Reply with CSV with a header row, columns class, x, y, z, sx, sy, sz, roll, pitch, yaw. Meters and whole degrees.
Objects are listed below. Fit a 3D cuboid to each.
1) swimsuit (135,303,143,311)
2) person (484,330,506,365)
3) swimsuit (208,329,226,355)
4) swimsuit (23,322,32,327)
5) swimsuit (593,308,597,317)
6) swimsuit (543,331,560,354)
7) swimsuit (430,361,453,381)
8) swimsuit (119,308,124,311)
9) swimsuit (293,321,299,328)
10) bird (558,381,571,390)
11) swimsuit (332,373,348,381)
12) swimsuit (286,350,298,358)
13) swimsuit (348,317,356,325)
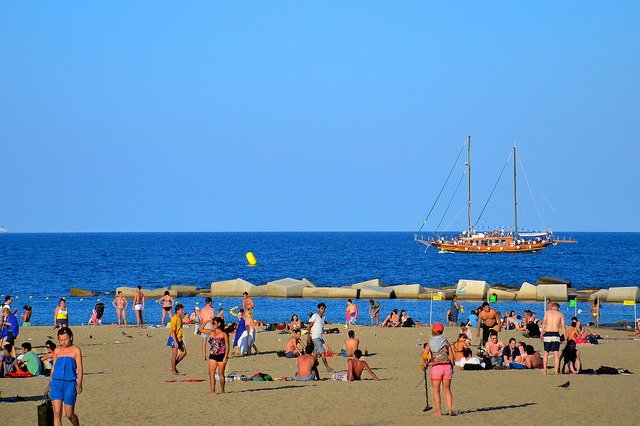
class,x,y,z,sx,sy,sz,roll,pitch,yaw
swimsuit,-12.118,6.287,76.853,0.385,0.437,0.567,-10,-7,38
person,10.132,7.762,67.376,1.018,1.687,1.286,2,13,7
swimsuit,-5.503,7.034,62.618,1.196,1.643,0.931,-2,-12,10
swimsuit,-19.255,7.356,75.872,0.349,0.331,0.412,1,-10,-18
swimsuit,18.953,6.858,79.706,0.163,0.613,0.626,4,1,-9
swimsuit,12.943,7.222,64.610,1.021,1.425,0.962,0,-7,1
swimsuit,6.310,8.265,60.365,1.254,1.101,0.895,-1,-7,-7
swimsuit,-13.410,6.517,77.776,0.304,0.248,0.325,-3,-3,36
swimsuit,-1.549,7.134,73.378,0.361,0.401,0.525,0,13,-1
bird,13.502,9.522,63.819,0.623,0.279,0.823,4,14,15
swimsuit,1.095,9.291,64.988,0.593,0.247,0.350,0,2,-41
swimsuit,-1.766,8.427,68.571,0.593,0.544,0.384,4,14,14
swimsuit,2.235,7.699,81.865,0.513,0.543,0.141,-4,-11,-16
